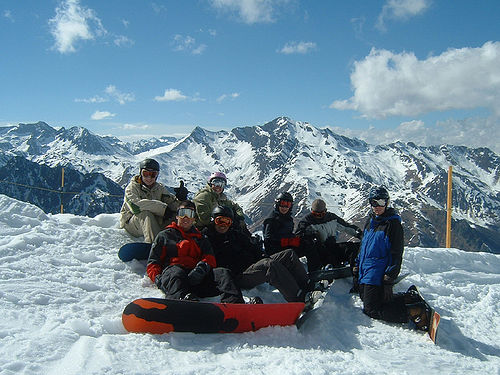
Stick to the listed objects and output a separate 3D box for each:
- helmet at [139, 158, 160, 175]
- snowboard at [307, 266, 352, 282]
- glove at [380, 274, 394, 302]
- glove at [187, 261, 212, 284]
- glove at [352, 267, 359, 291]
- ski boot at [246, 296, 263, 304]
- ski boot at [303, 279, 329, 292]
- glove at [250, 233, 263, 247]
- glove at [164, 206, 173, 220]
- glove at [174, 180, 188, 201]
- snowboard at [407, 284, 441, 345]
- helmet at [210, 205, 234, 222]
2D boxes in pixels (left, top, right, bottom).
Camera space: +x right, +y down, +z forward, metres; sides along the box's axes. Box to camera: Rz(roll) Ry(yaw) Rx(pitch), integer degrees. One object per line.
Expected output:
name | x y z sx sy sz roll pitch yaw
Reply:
helmet | -3.018 -0.674 12.124 0.507 0.484 0.545 5 13 -12
snowboard | 2.083 2.266 10.537 1.349 0.378 0.507 -1 -38 -7
glove | 3.179 2.301 9.430 0.431 0.564 0.214 6 17 22
glove | -1.135 1.905 9.041 0.334 0.227 0.573 21 31 21
glove | 2.678 2.321 10.327 0.169 0.479 0.353 2 -10 7
ski boot | 0.081 2.470 8.831 0.277 0.191 0.282 -19 -11 29
ski boot | 1.538 2.334 9.604 0.666 0.198 0.286 -18 -46 20
glove | 0.199 1.606 12.461 0.321 0.151 0.435 13 12 -5
glove | -2.330 0.727 11.519 0.243 0.385 0.308 1 -1 -10
glove | -2.338 0.141 13.645 0.445 0.727 0.298 -1 3 3
snowboard | 4.028 2.777 8.969 0.518 1.248 0.423 10 -28 -7
helmet | -0.737 0.674 10.410 0.489 0.366 0.369 -12 -9 33
